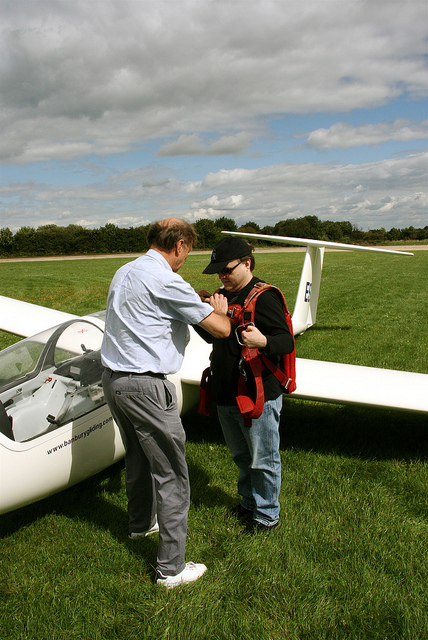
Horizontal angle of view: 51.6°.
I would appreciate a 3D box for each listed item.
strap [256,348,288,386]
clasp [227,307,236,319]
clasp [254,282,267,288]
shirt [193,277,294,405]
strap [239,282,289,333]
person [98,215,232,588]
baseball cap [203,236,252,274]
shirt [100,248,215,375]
[{"bbox_3d":[0.319,0.262,2.292,0.061,0.225,0.124,-44,-3,-5],"label":"strap"},{"bbox_3d":[0.081,-0.040,2.281,0.035,0.051,0.018,-2,-5,20],"label":"clasp"},{"bbox_3d":[0.243,-0.181,2.274,0.033,0.028,0.013,13,7,-5],"label":"clasp"},{"bbox_3d":[0.146,0.150,2.396,0.584,0.681,0.440,-2,2,19],"label":"shirt"},{"bbox_3d":[0.261,-0.035,2.243,0.255,0.273,0.242,12,-4,3],"label":"strap"},{"bbox_3d":[-0.282,0.397,2.191,0.653,1.762,0.485,2,8,39],"label":"person"},{"bbox_3d":[0.072,-0.347,2.291,0.251,0.134,0.165,-32,25,-27],"label":"baseball cap"},{"bbox_3d":[-0.299,-0.066,2.173,0.421,0.600,0.520,1,14,-33],"label":"shirt"}]
